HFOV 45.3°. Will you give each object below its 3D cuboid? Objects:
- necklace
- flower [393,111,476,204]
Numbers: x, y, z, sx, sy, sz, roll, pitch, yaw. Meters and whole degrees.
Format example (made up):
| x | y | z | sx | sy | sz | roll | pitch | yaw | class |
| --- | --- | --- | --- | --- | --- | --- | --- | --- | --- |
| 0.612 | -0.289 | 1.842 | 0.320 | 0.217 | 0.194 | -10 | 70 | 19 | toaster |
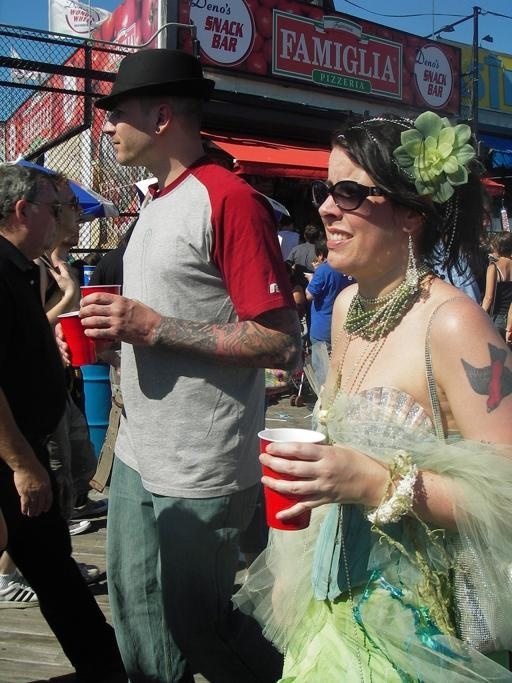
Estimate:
| x | y | z | sx | sy | sz | roll | pitch | yaw | class |
| --- | --- | --- | --- | --- | --- | --- | --- | --- | --- |
| 0.375 | 0.000 | 1.534 | 0.096 | 0.337 | 0.260 | 32 | -16 | -28 | necklace |
| 0.408 | -0.451 | 1.441 | 0.168 | 0.055 | 0.175 | -21 | -37 | 37 | flower |
